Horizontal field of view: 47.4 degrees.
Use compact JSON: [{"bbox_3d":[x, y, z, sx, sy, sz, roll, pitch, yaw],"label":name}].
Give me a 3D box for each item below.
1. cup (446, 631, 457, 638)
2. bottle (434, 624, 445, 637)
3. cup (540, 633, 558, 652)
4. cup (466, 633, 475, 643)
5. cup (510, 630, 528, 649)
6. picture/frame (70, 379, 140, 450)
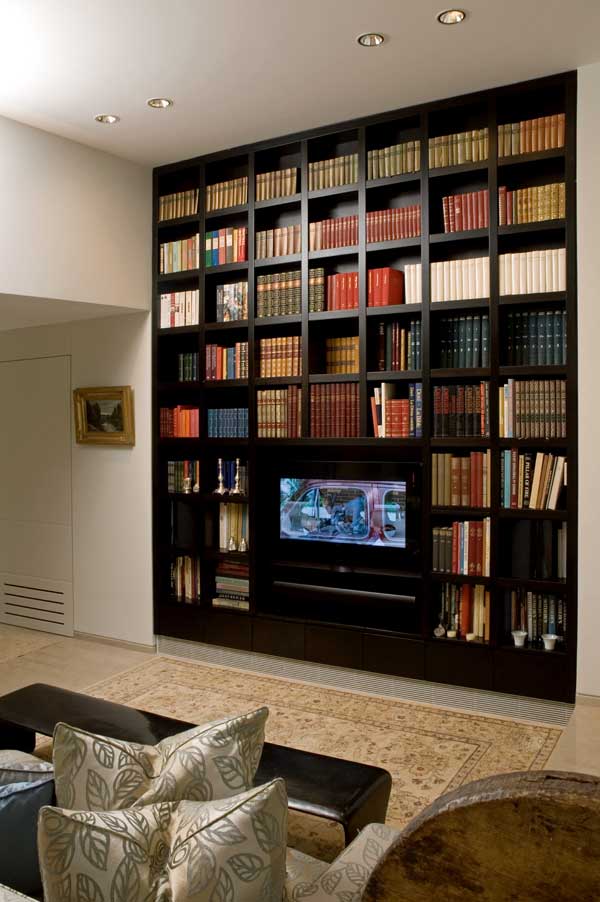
[{"bbox_3d":[0.865,1.048,3.920,0.046,0.043,0.065,-1,0,19],"label":"cup"},{"bbox_3d":[0.806,1.035,3.954,0.068,0.072,0.102,0,0,27],"label":"bottle"},{"bbox_3d":[1.340,1.024,3.670,0.069,0.061,0.080,-1,0,-1],"label":"cup"},{"bbox_3d":[0.956,1.045,3.850,0.051,0.038,0.075,-1,1,26],"label":"cup"},{"bbox_3d":[1.197,1.018,3.720,0.072,0.062,0.079,0,4,0],"label":"cup"},{"bbox_3d":[-1.414,-0.278,5.030,0.443,0.426,0.036,3,4,29],"label":"picture/frame"}]
